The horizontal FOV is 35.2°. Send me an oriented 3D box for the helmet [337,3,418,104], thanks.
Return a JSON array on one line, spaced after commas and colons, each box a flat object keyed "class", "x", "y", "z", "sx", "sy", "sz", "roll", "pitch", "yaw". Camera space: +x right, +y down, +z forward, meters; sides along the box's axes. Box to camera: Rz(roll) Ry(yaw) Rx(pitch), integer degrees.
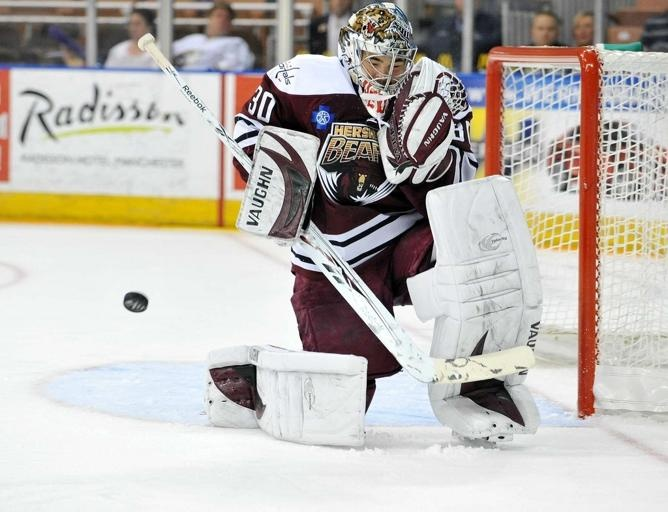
[{"class": "helmet", "x": 0.120, "y": -0.641, "z": 3.371, "sx": 0.248, "sy": 0.287, "sz": 0.299, "roll": 2, "pitch": 40, "yaw": -17}]
